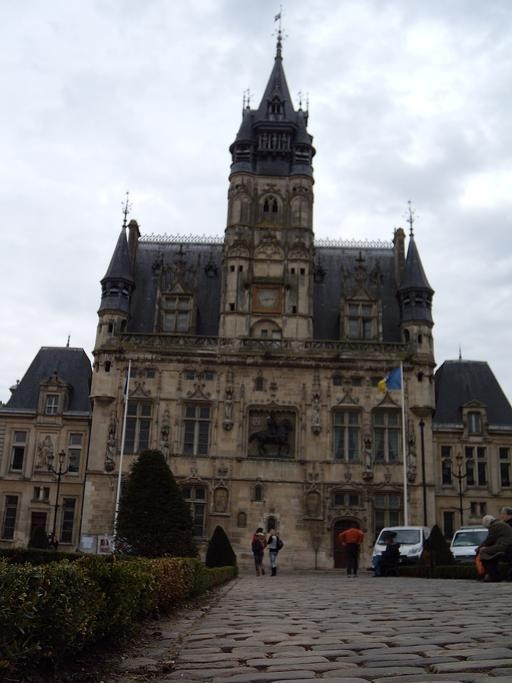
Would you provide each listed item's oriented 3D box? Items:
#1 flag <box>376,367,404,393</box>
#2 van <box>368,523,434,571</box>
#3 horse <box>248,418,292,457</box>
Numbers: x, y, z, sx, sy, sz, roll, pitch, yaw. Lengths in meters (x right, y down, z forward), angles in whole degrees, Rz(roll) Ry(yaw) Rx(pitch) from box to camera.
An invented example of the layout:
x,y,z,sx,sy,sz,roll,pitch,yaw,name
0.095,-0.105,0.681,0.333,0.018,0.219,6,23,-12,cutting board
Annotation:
x,y,z,sx,sy,sz,roll,pitch,yaw,name
8.058,2.324,41.122,1.691,1.453,0.243,-6,10,-19,flag
5.798,8.214,27.494,2.022,1.576,2.819,-3,-13,13,van
1.039,5.922,43.369,2.551,2.589,0.831,0,-13,2,horse
